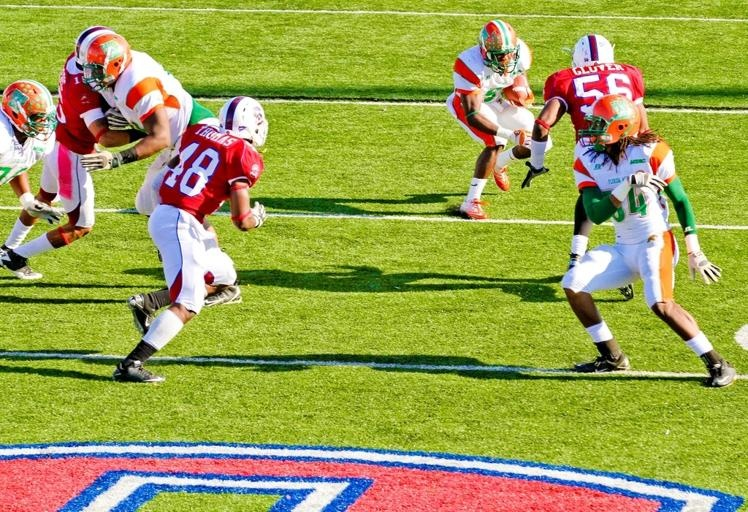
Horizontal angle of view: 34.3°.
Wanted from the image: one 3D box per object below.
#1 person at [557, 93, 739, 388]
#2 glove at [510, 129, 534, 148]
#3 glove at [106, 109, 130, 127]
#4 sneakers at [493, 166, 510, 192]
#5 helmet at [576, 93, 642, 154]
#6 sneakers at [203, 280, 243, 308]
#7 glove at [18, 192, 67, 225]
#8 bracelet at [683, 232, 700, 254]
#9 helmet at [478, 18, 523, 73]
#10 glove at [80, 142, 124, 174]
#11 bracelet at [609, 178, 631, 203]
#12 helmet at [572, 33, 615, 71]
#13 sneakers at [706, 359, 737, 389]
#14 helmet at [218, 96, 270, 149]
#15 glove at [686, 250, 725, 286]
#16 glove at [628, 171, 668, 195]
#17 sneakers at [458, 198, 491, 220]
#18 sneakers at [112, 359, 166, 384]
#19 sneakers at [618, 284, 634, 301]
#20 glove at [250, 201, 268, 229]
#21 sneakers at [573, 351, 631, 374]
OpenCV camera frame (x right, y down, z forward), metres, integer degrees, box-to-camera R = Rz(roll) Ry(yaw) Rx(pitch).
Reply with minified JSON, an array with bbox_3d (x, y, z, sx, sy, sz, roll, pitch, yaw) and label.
[{"bbox_3d":[2.054,-0.149,9.130,1.312,2.049,0.744,7,15,12],"label":"person"},{"bbox_3d":[1.370,-1.090,11.190,0.153,0.068,0.179,11,-3,7],"label":"glove"},{"bbox_3d":[-2.061,-1.106,9.779,0.186,0.118,0.063,23,1,-17],"label":"glove"},{"bbox_3d":[1.259,-0.762,11.720,0.111,0.293,0.125,-34,19,-16],"label":"sneakers"},{"bbox_3d":[1.785,-0.991,9.130,0.495,0.327,0.345,-5,1,3],"label":"helmet"},{"bbox_3d":[-1.166,0.297,9.468,0.376,0.198,0.120,-9,22,-36],"label":"sneakers"},{"bbox_3d":[-2.743,-0.403,10.104,0.350,0.209,0.111,19,47,-14],"label":"glove"},{"bbox_3d":[2.453,-0.106,9.398,0.074,0.050,0.214,1,31,6],"label":"bracelet"},{"bbox_3d":[1.125,-1.940,11.107,0.369,0.369,0.489,-18,44,-33],"label":"helmet"},{"bbox_3d":[-2.142,-0.739,9.523,0.264,0.161,0.096,-12,-22,-38],"label":"glove"},{"bbox_3d":[1.803,-0.500,8.885,0.135,0.212,0.198,7,14,10],"label":"bracelet"},{"bbox_3d":[1.871,-1.889,10.643,0.325,0.351,0.335,-8,56,3],"label":"helmet"},{"bbox_3d":[2.585,0.860,8.993,0.297,0.211,0.135,0,15,-15],"label":"sneakers"},{"bbox_3d":[-0.952,-1.026,9.420,0.453,0.352,0.330,3,3,-45],"label":"helmet"},{"bbox_3d":[2.480,0.089,9.214,0.301,0.224,0.107,42,-2,-4],"label":"glove"},{"bbox_3d":[1.988,-0.534,8.820,0.230,0.125,0.077,17,-37,-33],"label":"glove"},{"bbox_3d":[0.922,-0.428,11.255,0.308,0.163,0.131,11,49,10],"label":"sneakers"},{"bbox_3d":[-1.731,0.845,8.837,0.447,0.152,0.137,1,7,-10],"label":"sneakers"},{"bbox_3d":[2.095,0.300,10.071,0.135,0.087,0.198,-7,-8,-10],"label":"sneakers"},{"bbox_3d":[-0.860,-0.314,9.191,0.115,0.129,0.302,-1,31,5],"label":"glove"},{"bbox_3d":[1.722,0.803,9.119,0.435,0.136,0.145,1,4,2],"label":"sneakers"}]
